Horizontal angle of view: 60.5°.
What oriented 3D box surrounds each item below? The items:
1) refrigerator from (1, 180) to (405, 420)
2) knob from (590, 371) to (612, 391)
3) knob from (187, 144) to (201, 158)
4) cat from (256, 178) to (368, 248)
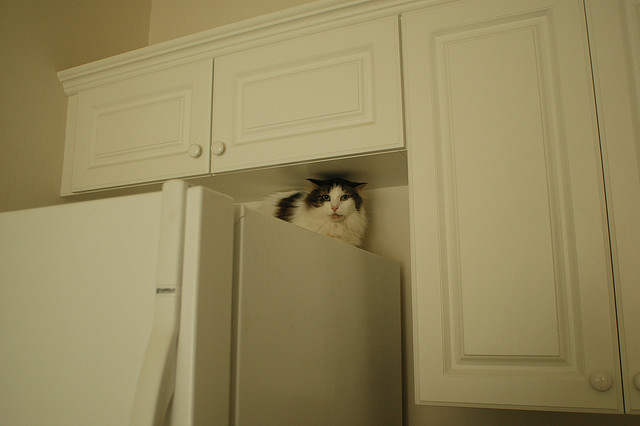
[{"bbox_3d":[-0.281,0.214,1.486,0.699,0.502,0.780,-8,-14,37],"label":"refrigerator"},{"bbox_3d":[0.729,0.432,1.415,0.043,0.046,0.015,-4,-3,25],"label":"knob"},{"bbox_3d":[-0.427,-0.210,1.848,0.052,0.044,0.022,-4,-12,22],"label":"knob"},{"bbox_3d":[-0.007,0.012,1.977,0.219,0.173,0.341,7,-6,-40],"label":"cat"}]
